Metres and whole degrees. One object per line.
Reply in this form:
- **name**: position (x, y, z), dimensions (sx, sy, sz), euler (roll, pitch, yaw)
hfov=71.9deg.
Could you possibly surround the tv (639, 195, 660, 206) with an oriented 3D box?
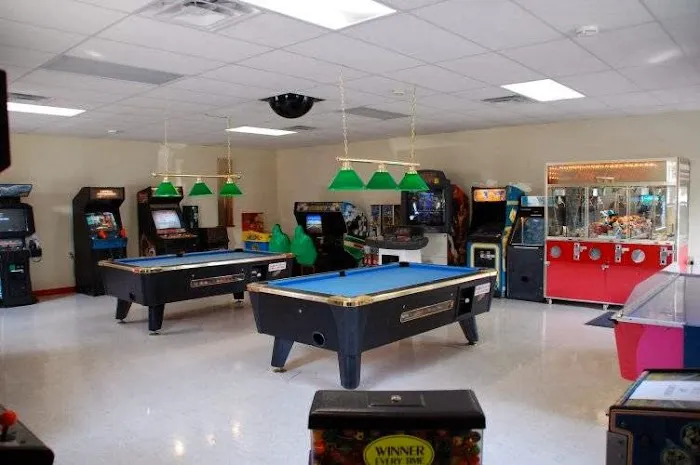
- **tv**: position (4.715, -0.522, 7.639), dimensions (0.302, 0.189, 0.173), euler (5, 10, 41)

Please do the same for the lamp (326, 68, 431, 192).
- **lamp**: position (0.365, -1.103, 5.753), dimensions (1.302, 1.108, 0.365), euler (-2, 17, -30)

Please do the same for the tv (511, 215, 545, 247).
- **tv**: position (3.191, -0.027, 8.696), dimensions (0.534, 0.507, 0.316), euler (4, 10, 27)

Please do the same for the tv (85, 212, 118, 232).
- **tv**: position (-5.004, -0.160, 9.651), dimensions (0.451, 0.391, 0.112), euler (0, -19, -36)

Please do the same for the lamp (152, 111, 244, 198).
- **lamp**: position (-3.156, -1.594, 9.755), dimensions (1.573, 1.266, 0.415), euler (0, 5, -11)

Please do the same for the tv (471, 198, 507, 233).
- **tv**: position (2.629, -0.293, 9.386), dimensions (0.808, 0.732, 0.585), euler (0, -3, 29)
